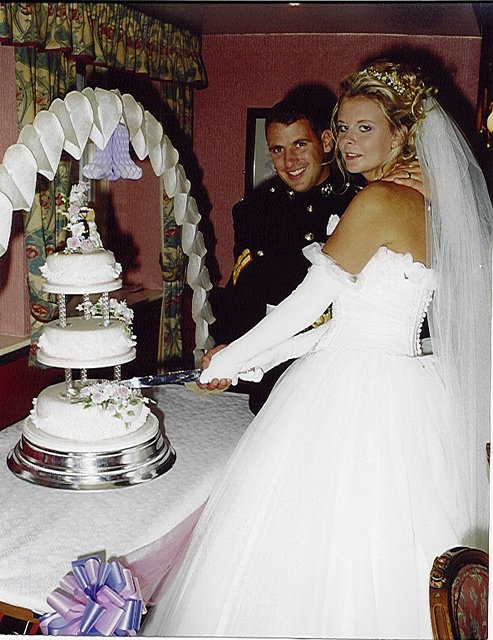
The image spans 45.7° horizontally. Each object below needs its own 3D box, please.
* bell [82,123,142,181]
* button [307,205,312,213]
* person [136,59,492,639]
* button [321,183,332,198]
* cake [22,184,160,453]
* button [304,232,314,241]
[{"bbox_3d":[-0.382,-0.474,1.647,0.149,0.153,0.166,-5,8,-13],"label":"bell"},{"bbox_3d":[0.288,-0.512,2.669,0.022,0.030,0.011,4,-1,11],"label":"button"},{"bbox_3d":[0.072,0.035,1.928,1.106,1.741,0.904,9,2,13],"label":"person"},{"bbox_3d":[0.349,-0.564,2.546,0.036,0.050,0.021,28,29,22],"label":"button"},{"bbox_3d":[-0.447,-0.008,1.646,0.363,0.644,0.352,7,13,26],"label":"cake"},{"bbox_3d":[0.281,-0.378,2.656,0.043,0.032,0.026,-2,8,8],"label":"button"}]
